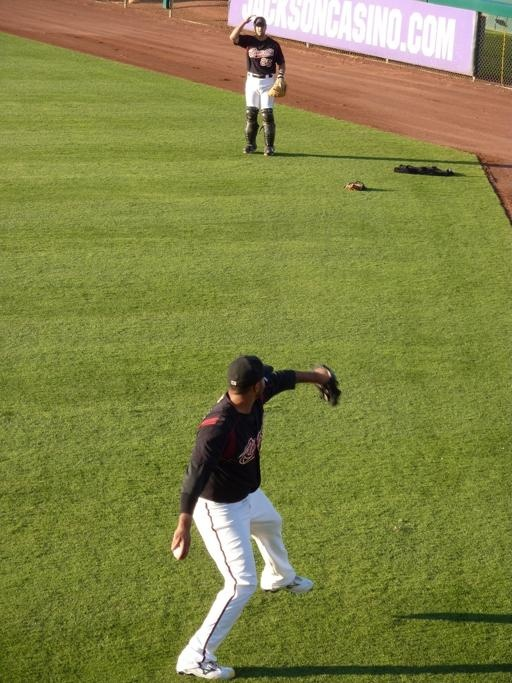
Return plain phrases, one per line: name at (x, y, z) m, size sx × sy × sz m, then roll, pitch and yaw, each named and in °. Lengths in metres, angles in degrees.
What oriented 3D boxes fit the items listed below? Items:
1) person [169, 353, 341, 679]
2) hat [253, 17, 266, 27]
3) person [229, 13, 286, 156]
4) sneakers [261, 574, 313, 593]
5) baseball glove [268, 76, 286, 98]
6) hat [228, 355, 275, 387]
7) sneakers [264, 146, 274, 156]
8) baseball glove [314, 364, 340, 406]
person at (0.018, 0.924, 3.013) m, size 1.074 × 1.326 × 0.461 m, roll -24°, pitch 39°, yaw -27°
hat at (0.067, -5.248, 9.830) m, size 0.131 × 0.102 × 0.194 m, roll -3°, pitch 41°, yaw 1°
person at (0.042, -4.468, 10.479) m, size 0.911 × 2.282 × 1.403 m, roll 3°, pitch 19°, yaw -3°
sneakers at (0.136, 1.219, 2.966) m, size 0.293 × 0.133 × 0.102 m, roll -4°, pitch 59°, yaw -3°
baseball glove at (0.393, -4.412, 10.403) m, size 0.275 × 0.320 × 0.590 m, roll 8°, pitch 20°, yaw 9°
hat at (-0.033, 0.133, 2.382) m, size 0.088 × 0.079 × 0.148 m, roll 19°, pitch 36°, yaw 30°
sneakers at (0.238, -3.459, 10.878) m, size 0.099 × 0.107 × 0.235 m, roll 0°, pitch 0°, yaw 5°
baseball glove at (0.358, 0.199, 3.138) m, size 0.088 × 0.130 × 0.271 m, roll -8°, pitch 43°, yaw 1°
